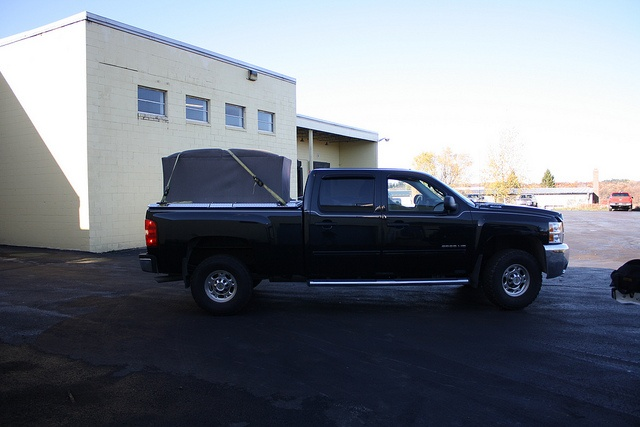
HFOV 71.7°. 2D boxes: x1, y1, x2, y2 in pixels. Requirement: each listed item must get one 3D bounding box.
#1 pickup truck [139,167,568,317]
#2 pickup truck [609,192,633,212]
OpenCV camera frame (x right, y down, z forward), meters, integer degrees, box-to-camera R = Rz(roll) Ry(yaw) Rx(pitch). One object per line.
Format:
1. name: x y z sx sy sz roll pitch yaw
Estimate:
1. pickup truck: 0.732 0.550 9.575 8.035 2.559 3.281 -1 0 2
2. pickup truck: 36.882 -1.415 54.741 1.766 1.460 3.578 -1 -2 25
